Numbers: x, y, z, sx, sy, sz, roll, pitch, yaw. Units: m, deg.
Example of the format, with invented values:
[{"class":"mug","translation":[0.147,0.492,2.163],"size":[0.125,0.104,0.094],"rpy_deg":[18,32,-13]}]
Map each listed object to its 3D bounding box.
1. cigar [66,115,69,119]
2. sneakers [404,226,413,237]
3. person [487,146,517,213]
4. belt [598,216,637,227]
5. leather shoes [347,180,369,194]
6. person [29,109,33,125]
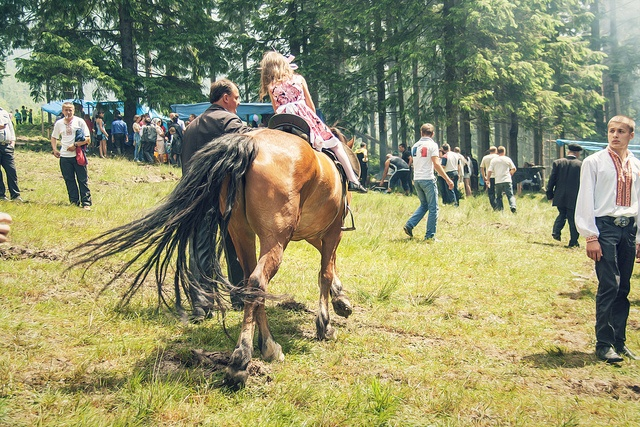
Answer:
[{"class":"cigar","translation":[-8.854,-3.422,27.508],"size":[0.111,0.118,0.031],"rpy_deg":[3,8,-7]},{"class":"sneakers","translation":[3.150,0.626,27.893],"size":[0.204,0.474,0.173],"rpy_deg":[-44,18,-10]},{"class":"person","translation":[7.743,-1.464,33.164],"size":[1.199,2.730,0.941],"rpy_deg":[2,7,14]},{"class":"belt","translation":[8.713,0.240,23.038],"size":[1.083,0.334,0.146],"rpy_deg":[0,7,-2]},{"class":"leather shoes","translation":[1.153,-0.808,23.611],"size":[0.666,0.256,0.243],"rpy_deg":[12,-1,-44]},{"class":"person","translation":[-20.658,-6.950,55.950],"size":[0.230,0.997,0.828],"rpy_deg":[-3,8,-28]}]
